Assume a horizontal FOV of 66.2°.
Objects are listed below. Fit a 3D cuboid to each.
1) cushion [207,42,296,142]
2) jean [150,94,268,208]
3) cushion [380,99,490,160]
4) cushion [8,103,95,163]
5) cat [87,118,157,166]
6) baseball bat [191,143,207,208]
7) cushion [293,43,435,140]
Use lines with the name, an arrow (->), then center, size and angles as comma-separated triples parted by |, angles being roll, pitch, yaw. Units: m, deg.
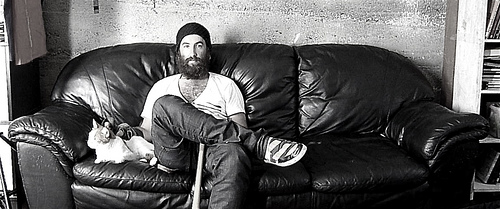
cushion -> 0.144, -0.170, 5.351 | 1.596, 1.076, 0.494 | -4, -5, 0
jean -> -0.369, 0.483, 5.187 | 2.288, 1.046, 0.757 | 14, 2, 6
cushion -> 2.224, 0.290, 4.708 | 1.009, 0.672, 0.561 | 0, 6, -6
cushion -> -2.248, 0.345, 4.520 | 0.877, 0.601, 0.419 | 1, 6, 2
cat -> -1.462, 0.462, 4.619 | 0.412, 0.426, 1.051 | 5, 0, 43
baseball bat -> -0.563, 0.808, 4.290 | 0.150, 0.770, 0.127 | 10, -16, -9
cushion -> 1.345, -0.136, 5.449 | 2.835, 0.985, 1.020 | -2, -3, -2
